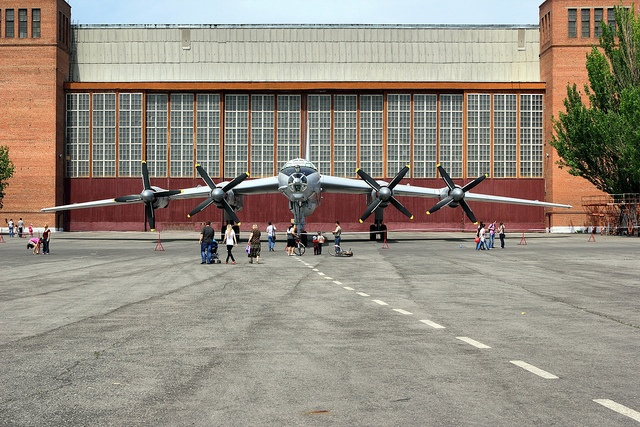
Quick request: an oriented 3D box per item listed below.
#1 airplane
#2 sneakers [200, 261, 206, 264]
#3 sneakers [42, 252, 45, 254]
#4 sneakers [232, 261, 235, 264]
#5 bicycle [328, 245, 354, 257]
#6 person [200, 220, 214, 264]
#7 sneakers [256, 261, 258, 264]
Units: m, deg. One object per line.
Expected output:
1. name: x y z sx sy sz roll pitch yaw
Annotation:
1. airplane: -0.853 -1.521 44.717 25.527 5.199 9.195 -2 3 -8
2. sneakers: -5.564 2.308 30.862 0.224 0.097 0.416 -3 3 -14
3. sneakers: -15.546 2.216 36.436 0.152 0.060 0.156 5 -3 -17
4. sneakers: -4.223 2.387 31.602 0.084 0.105 0.242 -3 -43 7
5. bicycle: 1.093 2.123 36.131 1.158 0.603 0.708 1 0 38
6. person: -5.470 1.399 31.224 0.586 1.894 1.115 -2 2 -13
7. sneakers: -3.046 2.305 31.057 0.108 0.189 0.181 0 -12 -1
